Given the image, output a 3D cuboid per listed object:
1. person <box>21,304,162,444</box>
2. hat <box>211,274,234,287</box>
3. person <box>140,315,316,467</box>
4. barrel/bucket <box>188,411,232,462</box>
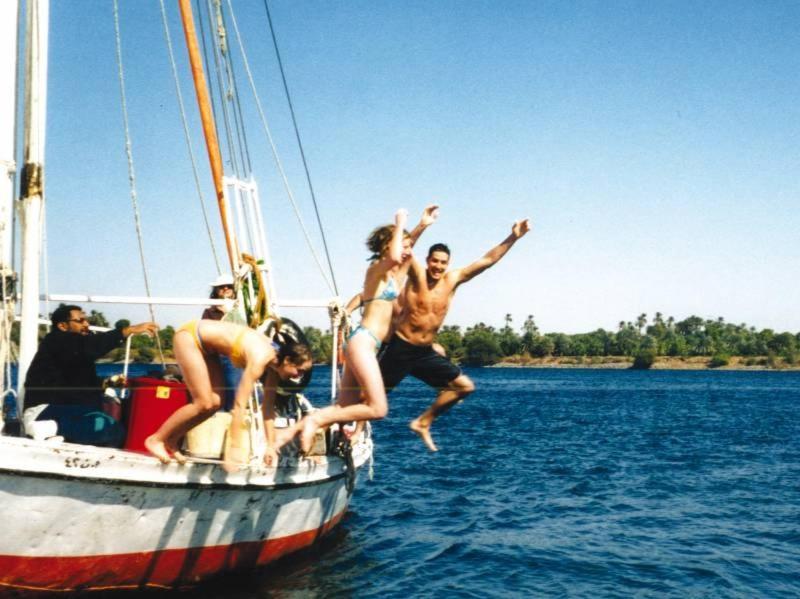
[{"bbox_3d":[-3.941,1.025,7.830,1.185,1.950,0.872,1,12,-41],"label":"person"},{"bbox_3d":[-2.398,-0.258,8.729,0.303,0.122,0.341,-2,4,10],"label":"hat"},{"bbox_3d":[-1.913,0.994,7.167,1.514,1.754,1.061,11,-1,-8],"label":"person"},{"bbox_3d":[-2.229,1.584,7.428,0.493,0.528,0.541,2,-10,0],"label":"barrel/bucket"}]
